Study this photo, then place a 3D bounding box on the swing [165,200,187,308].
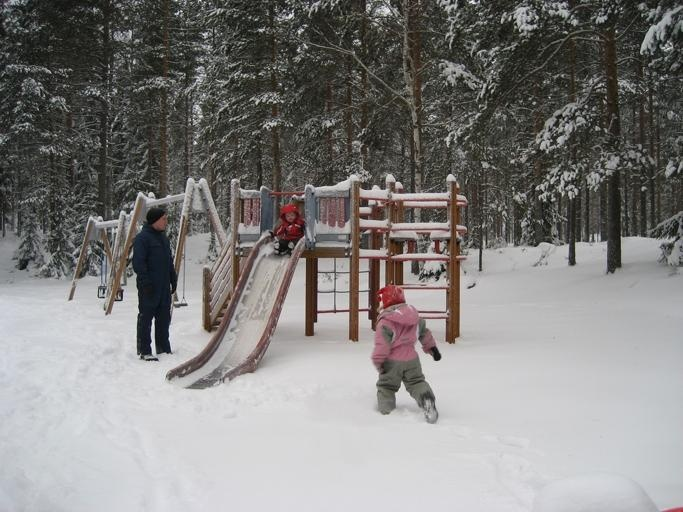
[{"bbox_3d":[-5.091,-0.066,22.185,0.547,4.172,1.054,-1,11,-5],"label":"swing"}]
